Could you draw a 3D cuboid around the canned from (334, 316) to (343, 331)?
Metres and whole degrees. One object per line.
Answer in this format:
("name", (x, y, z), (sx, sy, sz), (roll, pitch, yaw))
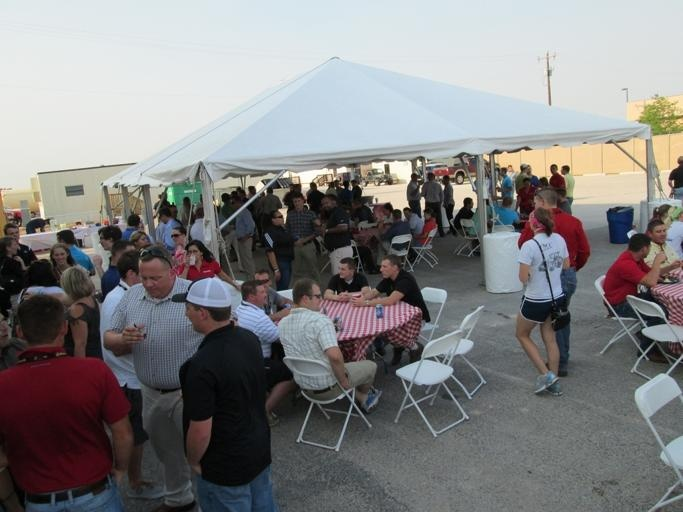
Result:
("canned", (-0.029, 0.702, 5.390), (0.080, 0.099, 0.243), (-4, -6, -2))

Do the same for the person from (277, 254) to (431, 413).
("person", (-0.098, 0.928, 4.837), (0.851, 1.464, 0.572), (-8, 11, -12))

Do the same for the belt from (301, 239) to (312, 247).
("belt", (-0.611, -0.227, 9.025), (0.118, 0.033, 0.116), (-15, -3, -40))

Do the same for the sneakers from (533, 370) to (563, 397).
("sneakers", (2.069, 1.277, 5.288), (0.259, 0.232, 0.130), (-5, 11, 7))

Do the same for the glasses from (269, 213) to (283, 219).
("glasses", (-1.040, -0.650, 8.533), (0.118, 0.038, 0.121), (-19, 3, 11))

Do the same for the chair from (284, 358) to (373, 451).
("chair", (-0.102, 1.405, 4.946), (0.556, 0.983, 0.710), (5, 24, 33))

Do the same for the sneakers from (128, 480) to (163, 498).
("sneakers", (-1.631, 1.972, 4.405), (0.252, 0.111, 0.139), (1, 7, -3))

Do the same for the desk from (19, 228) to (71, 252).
("desk", (-7.236, -0.371, 12.817), (0.844, 0.341, 0.870), (3, 7, 28))

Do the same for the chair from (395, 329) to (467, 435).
("chair", (0.898, 1.301, 5.271), (0.497, 0.908, 0.559), (-25, 35, -38))

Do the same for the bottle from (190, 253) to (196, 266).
("bottle", (-1.726, 0.051, 6.128), (0.101, 0.141, 0.081), (3, 6, 22))

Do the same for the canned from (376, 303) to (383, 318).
("canned", (0.410, 0.601, 5.716), (0.096, 0.182, 0.100), (4, 7, 23))

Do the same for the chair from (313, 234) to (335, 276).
("chair", (-0.442, -0.150, 12.700), (0.730, 1.084, 0.575), (1, 14, 3))

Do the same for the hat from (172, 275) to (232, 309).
("hat", (-0.854, 0.228, 3.216), (0.324, 0.146, 0.222), (1, 4, 9))

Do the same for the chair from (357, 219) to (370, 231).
("chair", (0.502, -0.690, 11.861), (0.198, 0.296, 0.224), (2, 5, 22))

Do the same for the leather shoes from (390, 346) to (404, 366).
("leather shoes", (0.649, 1.162, 6.116), (0.092, 0.202, 0.272), (-3, 20, 21))

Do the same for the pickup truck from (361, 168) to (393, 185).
("pickup truck", (3.038, -6.389, 42.724), (1.956, 1.026, 1.293), (5, 12, 36))

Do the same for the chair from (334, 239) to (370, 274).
("chair", (0.252, 0.018, 10.412), (0.700, 0.997, 0.574), (1, 4, 39))

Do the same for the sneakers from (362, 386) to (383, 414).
("sneakers", (0.319, 1.430, 5.311), (0.117, 0.138, 0.292), (-41, 6, 32))

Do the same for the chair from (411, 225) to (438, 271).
("chair", (1.774, -0.224, 11.379), (0.806, 1.192, 0.689), (1, 13, 9))

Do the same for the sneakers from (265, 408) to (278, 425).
("sneakers", (-0.704, 1.591, 5.299), (0.087, 0.119, 0.266), (-5, 10, -7))

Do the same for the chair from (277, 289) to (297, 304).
("chair", (-0.715, 0.515, 6.865), (0.198, 0.143, 0.197), (-1, -2, -39))
